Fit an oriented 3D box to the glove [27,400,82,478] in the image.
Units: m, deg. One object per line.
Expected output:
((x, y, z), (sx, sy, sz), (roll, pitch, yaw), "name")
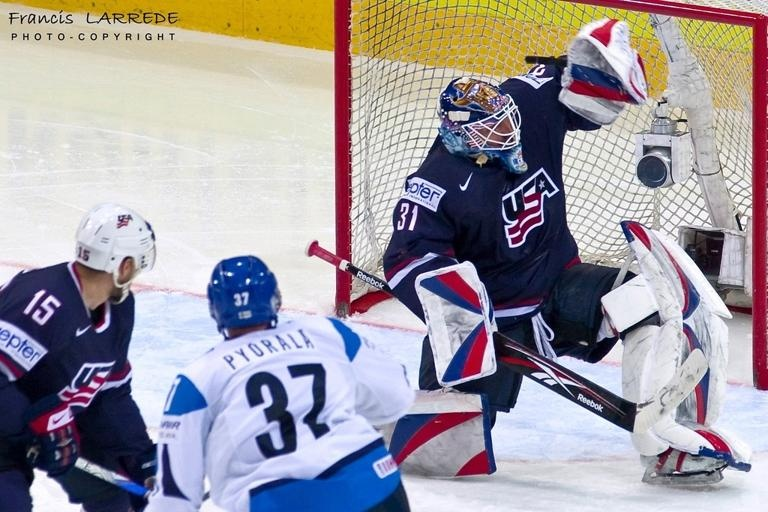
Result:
((-1.261, 0.694, 4.001), (0.197, 0.318, 0.120), (-1, 4, -34), "glove")

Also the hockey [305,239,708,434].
((0.575, 0.371, 4.539), (2.191, 0.279, 0.237), (21, -1, 20), "hockey")

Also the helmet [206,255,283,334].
((-0.463, 0.111, 3.807), (0.267, 0.265, 0.294), (-4, 25, -2), "helmet")
